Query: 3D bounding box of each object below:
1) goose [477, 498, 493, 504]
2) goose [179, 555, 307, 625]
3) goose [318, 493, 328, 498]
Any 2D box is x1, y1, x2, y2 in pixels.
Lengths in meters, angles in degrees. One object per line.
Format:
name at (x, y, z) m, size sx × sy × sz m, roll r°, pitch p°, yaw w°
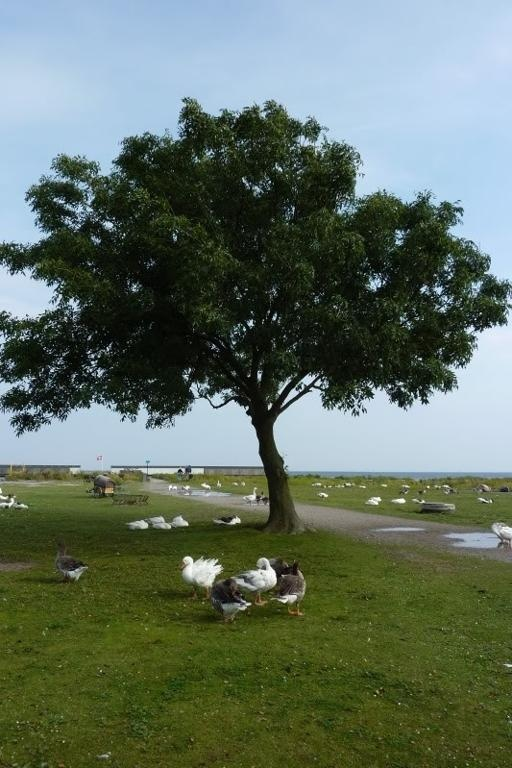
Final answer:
goose at (14.108, 7.135, 41.730) m, size 0.673 × 0.277 × 0.510 m, roll 7°, pitch -5°, yaw -34°
goose at (-0.117, 3.758, 12.526) m, size 1.998 × 1.010 × 2.376 m, roll -3°, pitch -3°, yaw -8°
goose at (4.497, 7.512, 46.099) m, size 0.452 × 0.211 × 0.609 m, roll 1°, pitch 0°, yaw 15°
